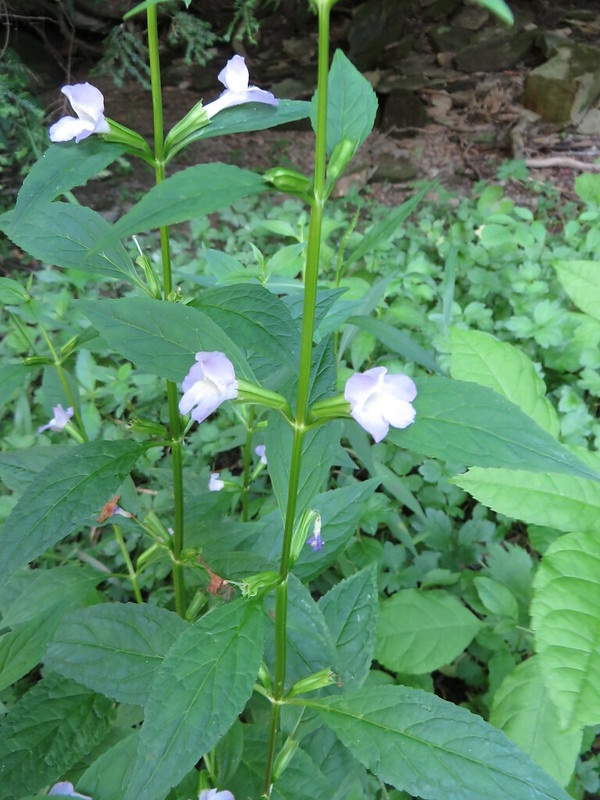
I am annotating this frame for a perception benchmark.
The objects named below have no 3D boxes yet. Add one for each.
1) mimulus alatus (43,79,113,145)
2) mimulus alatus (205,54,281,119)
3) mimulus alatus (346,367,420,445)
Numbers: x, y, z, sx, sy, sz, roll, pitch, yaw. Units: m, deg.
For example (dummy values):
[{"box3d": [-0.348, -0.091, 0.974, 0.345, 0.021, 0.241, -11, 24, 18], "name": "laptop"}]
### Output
[{"box3d": [-0.314, -0.415, 1.028, 0.082, 0.082, 0.109, 3, 27, -4], "name": "mimulus alatus"}, {"box3d": [-0.075, -0.483, 1.103, 0.113, 0.092, 0.134, 12, 27, 14], "name": "mimulus alatus"}, {"box3d": [0.106, 0.007, 0.898, 0.099, 0.093, 0.087, 3, 27, -4], "name": "mimulus alatus"}]
